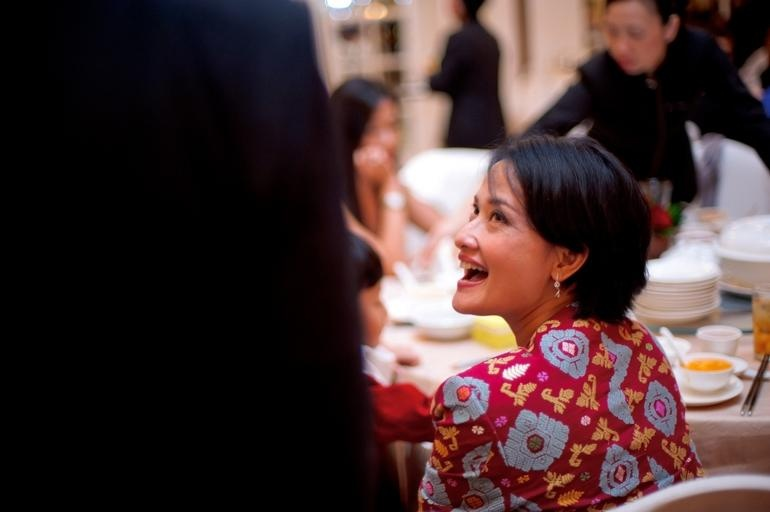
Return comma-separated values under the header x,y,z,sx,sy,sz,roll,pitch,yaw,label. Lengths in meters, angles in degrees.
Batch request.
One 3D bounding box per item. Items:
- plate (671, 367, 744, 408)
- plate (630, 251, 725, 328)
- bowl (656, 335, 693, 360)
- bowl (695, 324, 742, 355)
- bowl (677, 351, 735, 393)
x,y,z,sx,sy,sz,roll,pitch,yaw,label
0.786,0.331,1.621,0.125,0.018,0.132,-4,8,22,plate
0.887,0.099,1.999,0.282,0.129,0.292,-5,6,9,plate
0.745,0.236,1.742,0.090,0.021,0.087,-2,11,0,bowl
0.924,0.219,1.865,0.088,0.069,0.092,-2,3,0,bowl
0.793,0.290,1.666,0.130,0.069,0.143,-8,11,1,bowl
